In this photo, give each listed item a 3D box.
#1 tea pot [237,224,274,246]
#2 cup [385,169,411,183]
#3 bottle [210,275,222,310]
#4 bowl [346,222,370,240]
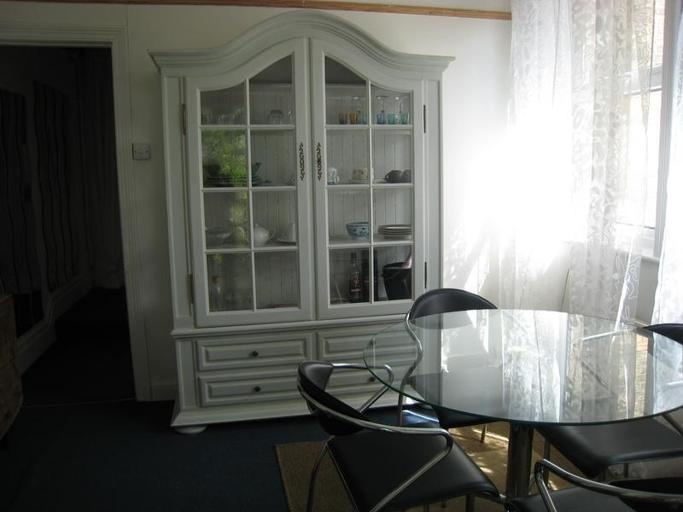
[{"bbox_3d":[-0.566,-0.136,3.515,0.186,0.139,0.127,0,10,-3],"label":"tea pot"},{"bbox_3d":[0.372,-0.513,3.603,0.121,0.055,0.100,0,2,-26],"label":"cup"},{"bbox_3d":[-0.803,0.228,3.507,0.065,0.201,0.042,-5,14,-15],"label":"bottle"},{"bbox_3d":[0.113,-0.171,3.599,0.120,0.084,0.123,-2,4,0],"label":"bowl"}]
